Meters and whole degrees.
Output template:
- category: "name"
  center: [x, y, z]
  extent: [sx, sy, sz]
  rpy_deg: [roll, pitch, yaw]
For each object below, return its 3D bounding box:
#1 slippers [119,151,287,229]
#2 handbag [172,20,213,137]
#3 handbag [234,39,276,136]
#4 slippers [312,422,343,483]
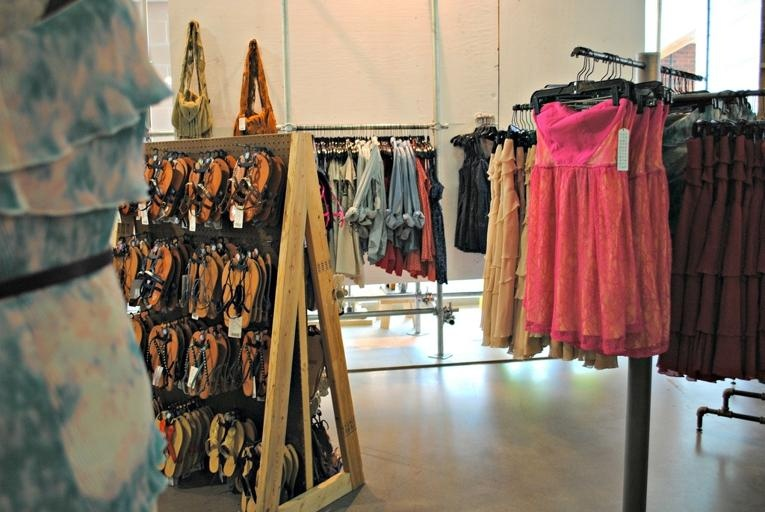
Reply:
- category: "slippers"
  center: [-0.982, -0.352, 3.693]
  extent: [1.028, 0.486, 0.269]
  rpy_deg: [6, 13, 33]
- category: "handbag"
  center: [-1.476, -1.339, 5.030]
  extent: [0.276, 0.867, 0.280]
  rpy_deg: [-5, 11, -22]
- category: "handbag"
  center: [-0.985, -1.302, 5.043]
  extent: [0.323, 0.728, 0.680]
  rpy_deg: [-3, 11, -9]
- category: "slippers"
  center: [-0.328, 1.124, 3.898]
  extent: [0.161, 0.323, 0.441]
  rpy_deg: [-2, 11, -4]
